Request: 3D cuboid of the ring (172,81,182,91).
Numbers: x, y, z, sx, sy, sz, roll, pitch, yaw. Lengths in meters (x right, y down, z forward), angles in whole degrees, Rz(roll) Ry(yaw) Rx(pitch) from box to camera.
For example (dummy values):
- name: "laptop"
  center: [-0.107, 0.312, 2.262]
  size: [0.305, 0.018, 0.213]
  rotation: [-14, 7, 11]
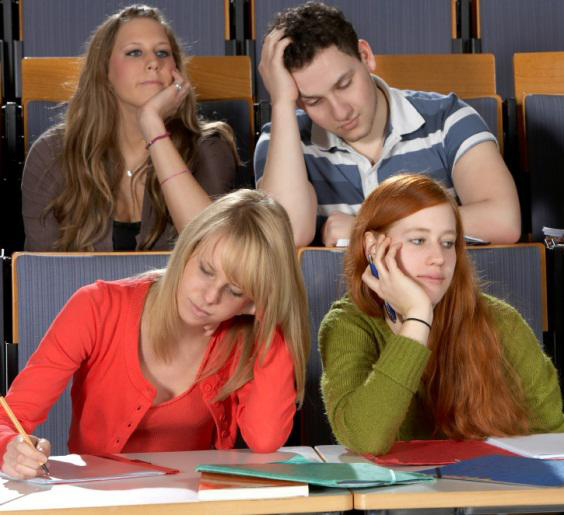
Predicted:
- name: "ring"
  center: [-0.298, -0.531, 1.839]
  size: [0.010, 0.033, 0.030]
  rotation: [-22, -10, 30]

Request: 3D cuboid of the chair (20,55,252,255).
- name: "chair"
  center: [-0.492, -0.308, 2.164]
  size: [0.787, 0.611, 0.309]
  rotation: [-2, 4, -8]

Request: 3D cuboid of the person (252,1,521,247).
- name: "person"
  center: [0.283, -0.385, 1.718]
  size: [0.565, 0.803, 0.509]
  rotation: [-11, 29, 33]
